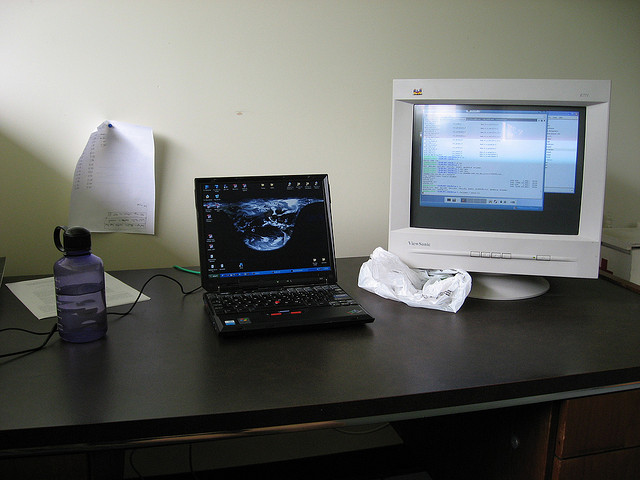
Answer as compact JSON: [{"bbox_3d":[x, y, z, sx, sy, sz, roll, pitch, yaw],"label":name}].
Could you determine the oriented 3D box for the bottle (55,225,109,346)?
[{"bbox_3d":[-0.523,0.087,1.067,0.113,0.242,0.163,-6,12,-28],"label":"bottle"}]

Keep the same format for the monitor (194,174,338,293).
[{"bbox_3d":[-0.142,-0.016,1.229,0.401,0.276,0.289,-2,5,-7],"label":"monitor"}]

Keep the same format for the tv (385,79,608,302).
[{"bbox_3d":[0.496,-0.150,1.418,0.552,0.587,0.362,2,9,16],"label":"tv"}]

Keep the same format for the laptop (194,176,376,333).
[{"bbox_3d":[-0.101,0.012,1.174,0.374,0.318,0.313,-3,11,-14],"label":"laptop"}]
